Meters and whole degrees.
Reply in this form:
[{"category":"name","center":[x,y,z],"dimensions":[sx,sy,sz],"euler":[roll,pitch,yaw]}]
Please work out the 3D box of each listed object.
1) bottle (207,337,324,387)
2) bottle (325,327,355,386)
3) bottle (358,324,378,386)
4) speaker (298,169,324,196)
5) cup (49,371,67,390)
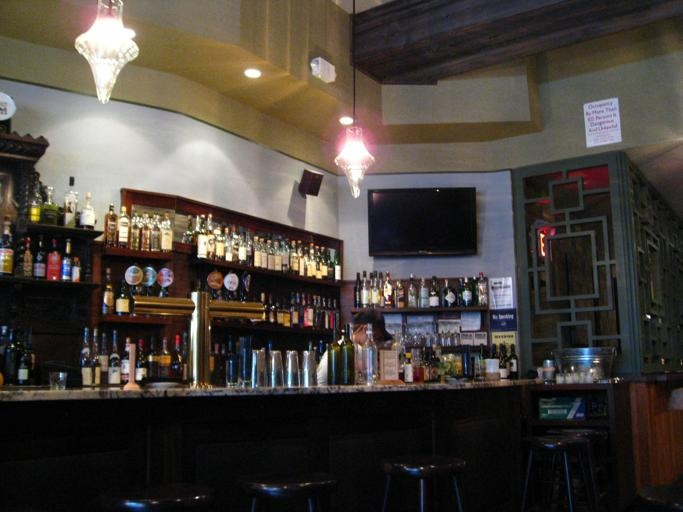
[{"category":"bottle","center":[-0.413,0.618,3.713],"dimensions":[0.517,0.283,0.284],"euler":[-2,-9,3]},{"category":"bottle","center":[-0.003,0.655,3.954],"dimensions":[0.171,0.284,0.106],"euler":[-1,-8,-2]},{"category":"bottle","center":[0.183,0.636,4.145],"dimensions":[0.106,0.381,0.253],"euler":[-1,-8,2]},{"category":"speaker","center":[-0.340,-0.792,6.737],"dimensions":[0.146,0.273,0.268],"euler":[19,6,27]},{"category":"cup","center":[-1.471,0.645,3.279],"dimensions":[0.073,0.086,0.189],"euler":[3,-10,-26]}]
